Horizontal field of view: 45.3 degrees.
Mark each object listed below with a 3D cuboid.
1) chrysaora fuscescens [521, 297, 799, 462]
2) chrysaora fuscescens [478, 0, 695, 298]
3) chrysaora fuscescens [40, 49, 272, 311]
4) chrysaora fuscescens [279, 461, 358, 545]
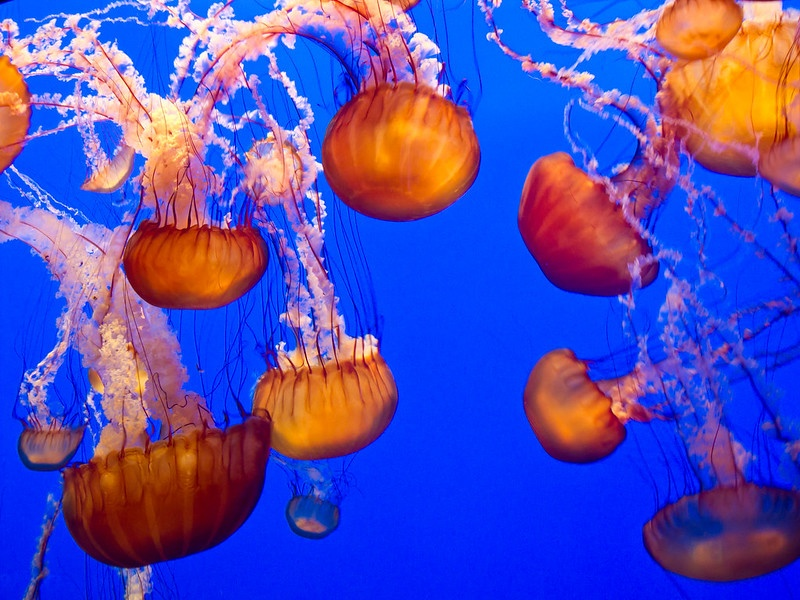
[{"bbox_3d":[0.819,0.276,3.127,0.759,0.424,0.331,-11,-9,0],"label":"chrysaora fuscescens"},{"bbox_3d":[0.615,-0.529,3.213,0.620,1.011,0.209,-4,-1,-13],"label":"chrysaora fuscescens"},{"bbox_3d":[-0.952,-0.297,3.634,0.647,1.435,0.562,-13,0,-22],"label":"chrysaora fuscescens"},{"bbox_3d":[-0.286,0.694,3.293,0.201,0.283,0.249,5,-32,-5],"label":"chrysaora fuscescens"}]
